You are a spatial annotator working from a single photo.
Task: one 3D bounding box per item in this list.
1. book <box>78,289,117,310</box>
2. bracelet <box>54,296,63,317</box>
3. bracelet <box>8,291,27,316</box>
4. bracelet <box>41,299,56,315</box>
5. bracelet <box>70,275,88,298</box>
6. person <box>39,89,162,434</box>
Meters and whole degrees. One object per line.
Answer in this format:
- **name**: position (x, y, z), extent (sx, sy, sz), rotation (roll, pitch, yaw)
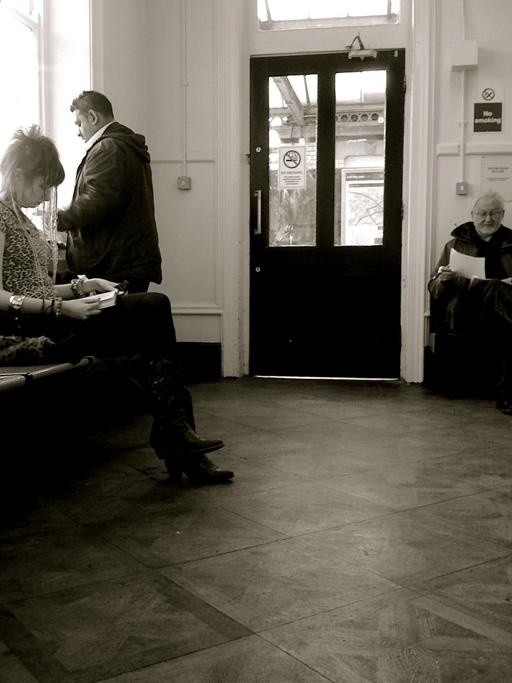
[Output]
- **book**: position (-0.441, -0.118, 1.797), extent (0.065, 0.020, 0.073), rotation (-14, 30, -5)
- **bracelet**: position (-0.571, -0.098, 1.804), extent (0.013, 0.042, 0.029), rotation (4, -1, -18)
- **bracelet**: position (-0.670, -0.107, 1.747), extent (0.025, 0.056, 0.052), rotation (2, -4, -7)
- **bracelet**: position (-0.595, -0.100, 1.792), extent (0.032, 0.039, 0.036), rotation (3, -1, -3)
- **bracelet**: position (-0.627, -0.197, 2.194), extent (0.032, 0.067, 0.074), rotation (2, 0, -30)
- **person**: position (-0.782, -0.521, 3.313), extent (0.680, 1.499, 0.766), rotation (-1, 12, -9)
